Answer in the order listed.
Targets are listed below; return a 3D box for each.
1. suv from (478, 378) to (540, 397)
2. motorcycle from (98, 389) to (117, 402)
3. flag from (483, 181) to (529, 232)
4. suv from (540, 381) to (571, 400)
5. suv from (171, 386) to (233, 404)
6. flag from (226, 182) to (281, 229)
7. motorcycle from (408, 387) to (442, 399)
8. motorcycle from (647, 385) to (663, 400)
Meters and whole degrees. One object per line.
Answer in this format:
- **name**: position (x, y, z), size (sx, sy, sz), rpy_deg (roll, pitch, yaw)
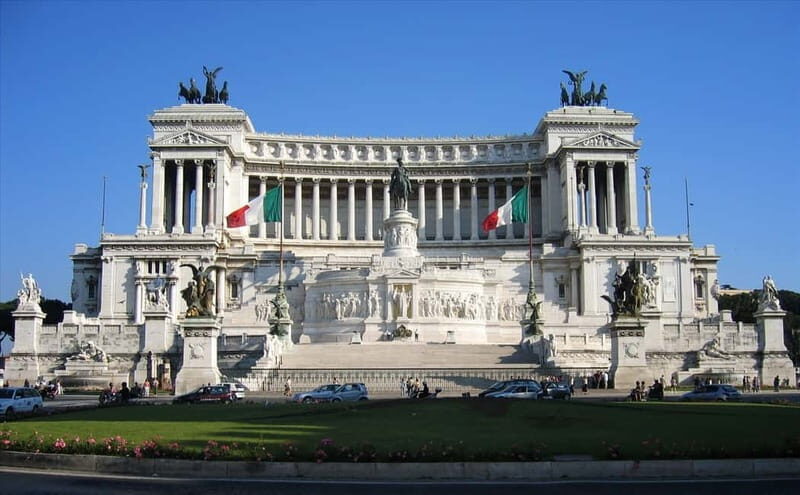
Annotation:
- **suv**: position (7.678, 9.961, 111.667), size (3.600, 1.183, 1.618), rpy_deg (1, -7, -10)
- **motorcycle**: position (-21.517, 11.209, 116.687), size (1.042, 1.047, 1.687), rpy_deg (-4, -15, 6)
- **flag**: position (10.365, -3.863, 146.552), size (4.227, 4.164, 2.498), rpy_deg (6, -10, -39)
- **suv**: position (11.255, 10.431, 112.402), size (1.920, 0.856, 1.111), rpy_deg (4, -13, -4)
- **suv**: position (-13.553, 10.691, 111.316), size (3.124, 1.082, 1.649), rpy_deg (2, -12, -2)
- **flag**: position (-13.550, -3.747, 147.581), size (5.730, 3.920, 0.624), rpy_deg (-7, 19, -25)
- **motorcycle**: position (1.825, 10.476, 111.049), size (1.638, 0.503, 1.020), rpy_deg (5, -11, -2)
- **motorcycle**: position (18.289, 10.591, 112.284), size (0.707, 0.805, 1.404), rpy_deg (-4, -27, 9)
